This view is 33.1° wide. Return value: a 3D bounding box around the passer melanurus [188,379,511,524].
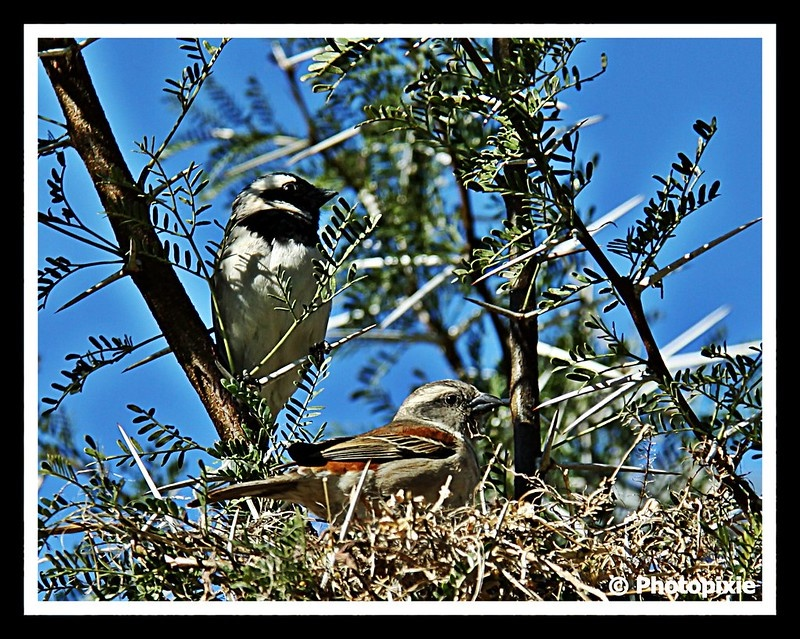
[{"bbox_3d":[-0.143,0.568,5.328,1.176,0.613,0.376,0,-26,-15],"label":"passer melanurus"}]
